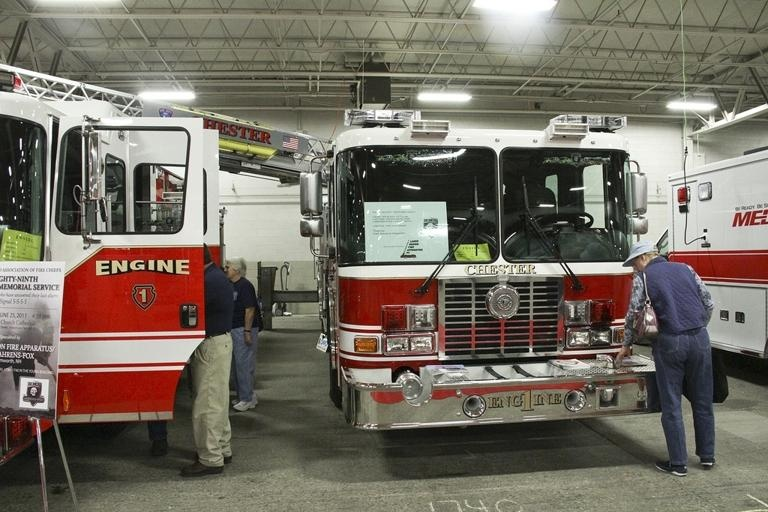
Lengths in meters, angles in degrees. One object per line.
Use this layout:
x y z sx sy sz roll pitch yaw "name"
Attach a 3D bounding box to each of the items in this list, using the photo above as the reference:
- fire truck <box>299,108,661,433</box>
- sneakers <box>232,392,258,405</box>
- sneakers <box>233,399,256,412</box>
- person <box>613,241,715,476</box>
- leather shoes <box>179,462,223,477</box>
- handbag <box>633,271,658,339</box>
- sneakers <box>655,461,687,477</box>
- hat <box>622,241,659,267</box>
0.835 0.082 12.207 4.137 4.052 8.811 -1 2 -8 "fire truck"
-2.115 2.219 10.339 0.161 0.226 0.492 -1 -9 34 "sneakers"
-2.148 2.311 10.224 0.343 0.165 0.141 5 -4 -30 "sneakers"
3.570 1.233 8.240 1.152 2.733 0.830 4 10 26 "person"
-2.281 2.640 8.260 0.467 0.200 0.200 7 -5 -13 "leather shoes"
3.213 0.620 8.136 0.248 0.764 0.298 0 10 8 "handbag"
3.527 2.595 8.145 0.137 0.142 0.328 -3 7 -38 "sneakers"
3.253 -0.016 8.411 0.368 0.200 0.296 -7 -7 32 "hat"
